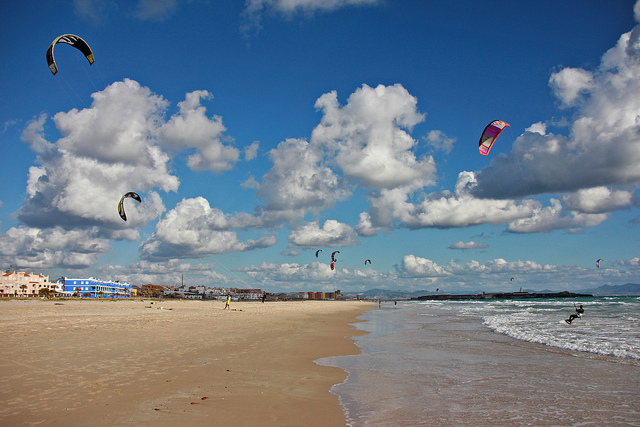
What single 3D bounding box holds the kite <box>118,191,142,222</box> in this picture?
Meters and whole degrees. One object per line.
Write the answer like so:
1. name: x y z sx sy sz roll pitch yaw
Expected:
1. kite: -10.999 -0.675 25.562 1.548 2.105 0.532 5 5 9
